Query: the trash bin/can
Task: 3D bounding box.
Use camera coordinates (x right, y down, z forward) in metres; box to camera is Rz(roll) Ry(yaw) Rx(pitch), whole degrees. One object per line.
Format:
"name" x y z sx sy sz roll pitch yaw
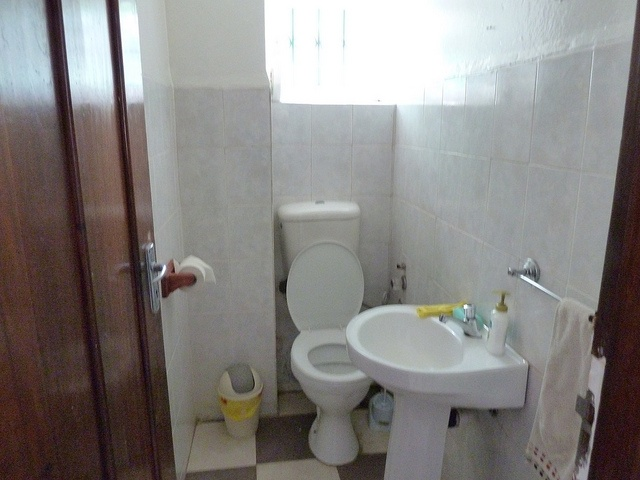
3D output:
"trash bin/can" -0.387 0.801 2.487 0.210 0.336 0.211 -10 15 -35

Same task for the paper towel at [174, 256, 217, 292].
"paper towel" -0.457 0.119 1.834 0.134 0.109 0.238 -7 18 -17

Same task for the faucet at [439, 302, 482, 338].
"faucet" 0.541 0.279 1.867 0.139 0.105 0.208 -8 9 -8

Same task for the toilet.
"toilet" 0.013 0.404 2.518 0.445 1.046 0.785 -1 17 1

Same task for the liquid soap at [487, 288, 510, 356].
"liquid soap" 0.595 0.257 1.690 0.064 0.220 0.131 4 18 19
